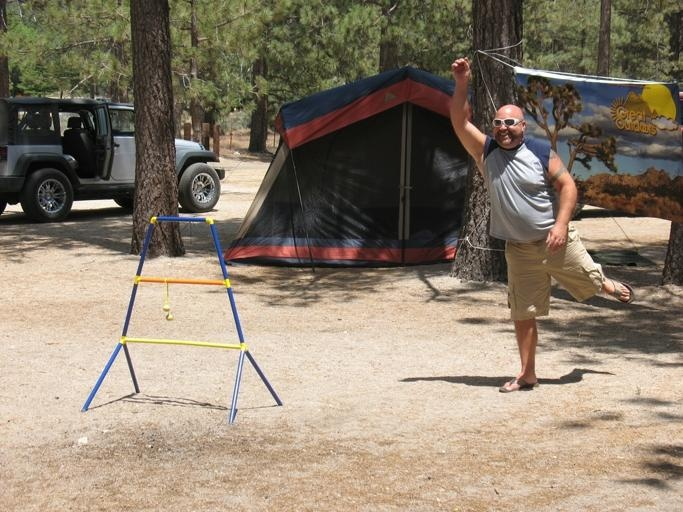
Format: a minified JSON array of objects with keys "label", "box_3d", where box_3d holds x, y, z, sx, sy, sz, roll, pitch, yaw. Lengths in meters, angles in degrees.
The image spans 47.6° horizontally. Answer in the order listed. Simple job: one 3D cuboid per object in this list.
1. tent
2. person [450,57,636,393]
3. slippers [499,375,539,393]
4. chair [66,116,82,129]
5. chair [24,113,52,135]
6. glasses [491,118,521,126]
[{"label":"tent","box_3d":[0.335,-1.232,12.623,3.128,2.214,3.346,-1,8,-1]},{"label":"person","box_3d":[1.539,-0.211,6.375,1.271,2.792,0.537,2,6,11]},{"label":"slippers","box_3d":[1.540,1.118,6.706,0.366,0.153,0.131,1,0,-11]},{"label":"chair","box_3d":[-5.592,-2.804,16.253,0.264,0.219,0.392,4,8,1]},{"label":"chair","box_3d":[-6.088,-2.675,15.557,0.422,0.218,0.422,0,-3,-25]},{"label":"glasses","box_3d":[1.335,-1.083,6.270,0.136,0.074,0.246,-5,9,-41]}]
